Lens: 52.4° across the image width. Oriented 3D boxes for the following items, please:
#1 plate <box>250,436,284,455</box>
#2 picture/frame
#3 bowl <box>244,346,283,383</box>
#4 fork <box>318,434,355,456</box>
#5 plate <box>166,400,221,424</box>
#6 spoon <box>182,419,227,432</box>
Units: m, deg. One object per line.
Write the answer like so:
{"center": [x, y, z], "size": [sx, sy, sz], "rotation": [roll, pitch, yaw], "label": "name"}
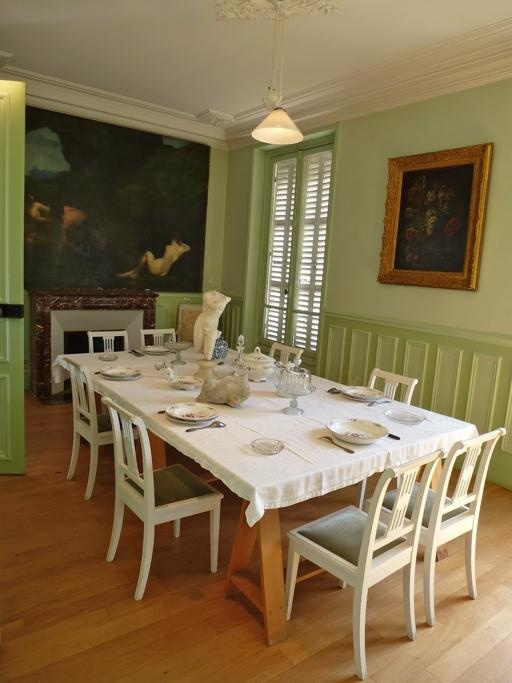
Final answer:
{"center": [0.045, 0.415, 2.076], "size": [0.125, 0.018, 0.182], "rotation": [7, 8, 17], "label": "plate"}
{"center": [1.344, -0.938, 4.029], "size": [0.081, 1.024, 0.936], "rotation": [-2, 11, -33], "label": "picture/frame"}
{"center": [0.025, 0.151, 3.309], "size": [0.189, 0.168, 0.230], "rotation": [1, 0, -5], "label": "bowl"}
{"center": [0.335, 0.422, 2.155], "size": [0.038, 0.027, 0.256], "rotation": [-11, 13, -13], "label": "fork"}
{"center": [-0.305, 0.322, 2.403], "size": [0.126, 0.027, 0.119], "rotation": [-8, 20, -29], "label": "plate"}
{"center": [-0.222, 0.368, 2.278], "size": [0.180, 0.019, 0.052], "rotation": [-10, 34, -42], "label": "spoon"}
